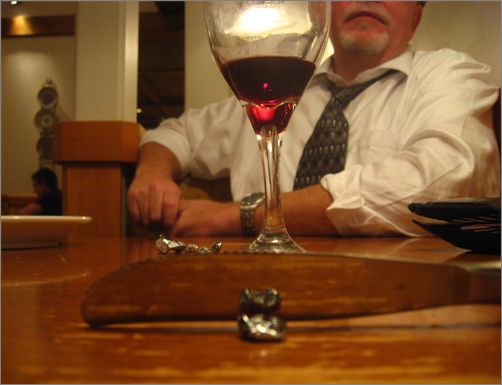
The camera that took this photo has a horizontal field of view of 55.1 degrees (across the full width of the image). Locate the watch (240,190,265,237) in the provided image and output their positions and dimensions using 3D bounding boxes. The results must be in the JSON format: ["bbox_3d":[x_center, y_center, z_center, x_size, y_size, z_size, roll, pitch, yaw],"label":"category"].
[{"bbox_3d":[0.004,0.046,0.872,0.046,0.071,0.074,2,11,18],"label":"watch"}]
